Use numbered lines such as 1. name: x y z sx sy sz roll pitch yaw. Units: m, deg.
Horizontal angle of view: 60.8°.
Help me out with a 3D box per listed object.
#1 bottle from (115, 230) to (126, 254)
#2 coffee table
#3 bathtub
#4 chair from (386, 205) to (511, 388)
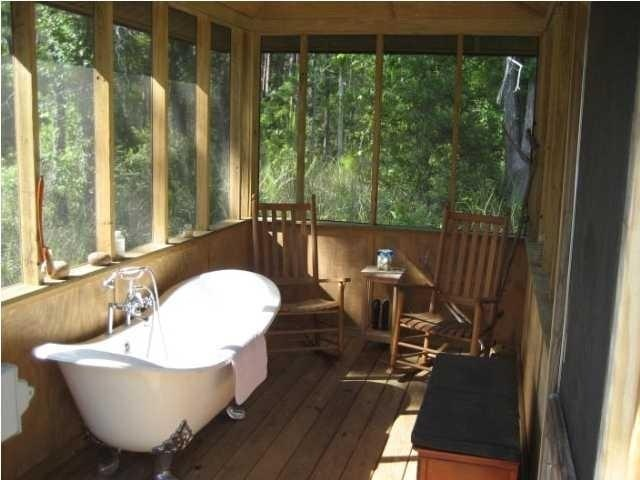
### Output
1. bottle: -1.463 0.012 4.003 0.058 0.191 0.249 -4 13 -16
2. coffee table: 0.579 0.619 5.215 0.353 0.738 0.408 2 13 2
3. bathtub: -0.816 0.748 3.768 0.805 0.651 1.771 12 13 9
4. chair: 1.116 0.537 4.616 0.976 1.541 0.936 -1 11 -27
